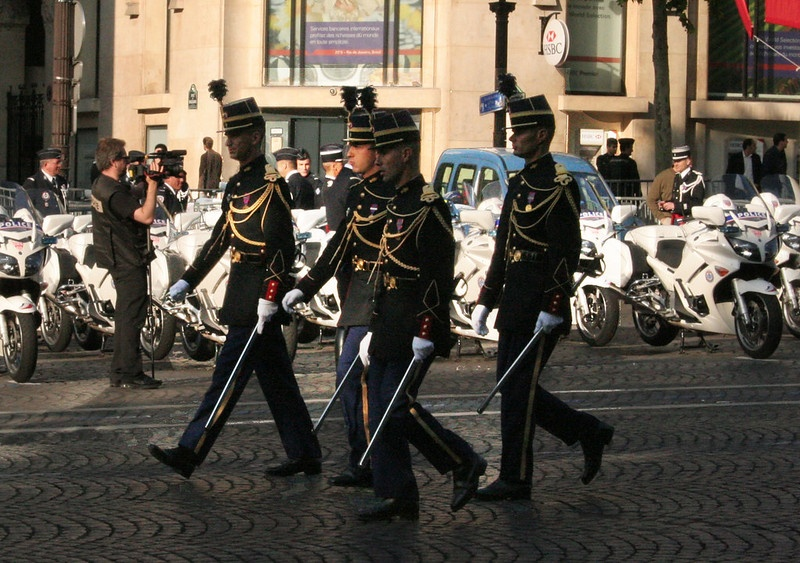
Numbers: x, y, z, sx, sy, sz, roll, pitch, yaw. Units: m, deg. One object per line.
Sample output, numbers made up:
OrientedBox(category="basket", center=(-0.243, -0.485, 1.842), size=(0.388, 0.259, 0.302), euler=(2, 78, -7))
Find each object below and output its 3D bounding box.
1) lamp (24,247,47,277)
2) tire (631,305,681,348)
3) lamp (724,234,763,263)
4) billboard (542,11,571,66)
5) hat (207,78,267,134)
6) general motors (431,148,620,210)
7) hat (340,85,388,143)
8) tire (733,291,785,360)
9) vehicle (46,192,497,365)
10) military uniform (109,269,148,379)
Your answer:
OrientedBox(category="lamp", center=(-3.774, -0.192, 15.004), size=(0.225, 0.254, 0.088), euler=(-2, 35, -46))
OrientedBox(category="tire", center=(3.063, 0.520, 17.126), size=(0.284, 0.512, 0.677), euler=(-3, 5, -40))
OrientedBox(category="lamp", center=(3.884, -0.368, 16.203), size=(0.370, 0.227, 0.114), euler=(26, -42, -6))
OrientedBox(category="billboard", center=(3.455, -5.302, 31.801), size=(0.420, 0.990, 1.104), euler=(-1, 7, -8))
OrientedBox(category="hat", center=(-1.349, -1.425, 11.531), size=(0.388, 0.319, 0.427), euler=(8, 15, 39))
OrientedBox(category="general motors", center=(1.581, -1.526, 20.581), size=(1.576, 0.742, 2.003), euler=(-2, 0, -37))
OrientedBox(category="hat", center=(-0.246, -1.346, 11.554), size=(0.369, 0.428, 0.317), euler=(0, 13, 33))
OrientedBox(category="tire", center=(3.981, 0.495, 16.012), size=(0.419, 0.776, 0.646), euler=(0, 7, 1))
OrientedBox(category="vehicle", center=(-1.195, 0.009, 16.355), size=(4.690, 1.867, 2.020), euler=(2, -2, 20))
OrientedBox(category="military uniform", center=(-2.709, 0.422, 14.594), size=(0.383, 1.130, 0.303), euler=(-1, 8, -5))
